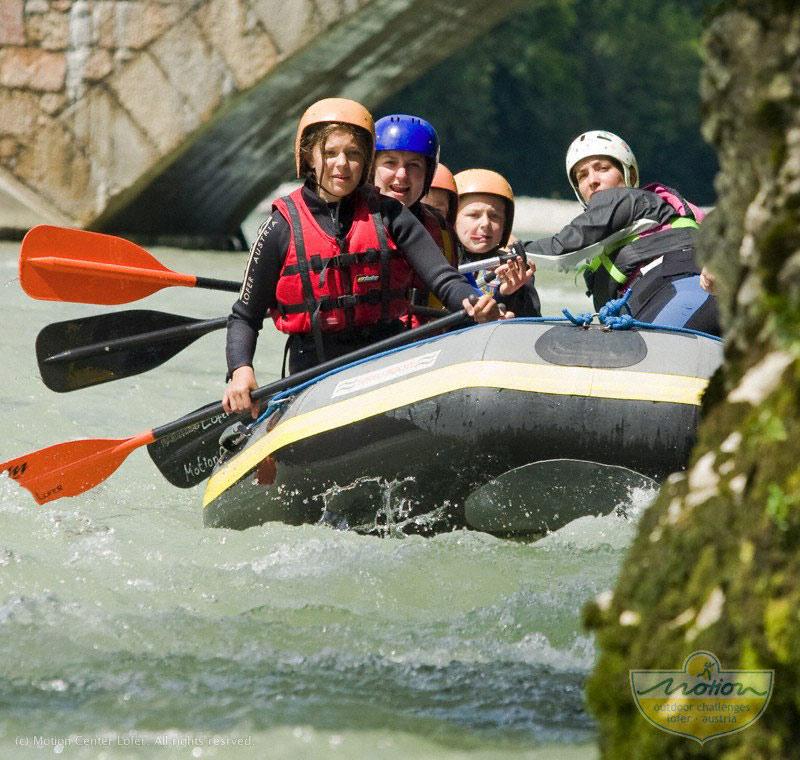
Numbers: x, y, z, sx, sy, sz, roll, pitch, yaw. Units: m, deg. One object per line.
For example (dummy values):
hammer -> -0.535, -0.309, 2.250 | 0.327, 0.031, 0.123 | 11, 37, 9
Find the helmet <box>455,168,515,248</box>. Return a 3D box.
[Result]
helmet -> 0.399, -0.768, 6.473 | 0.266, 0.266, 0.304 | 3, -29, -11

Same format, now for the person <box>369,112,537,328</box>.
person -> 0.120, -0.613, 6.368 | 0.728, 0.331, 0.883 | 5, -29, 4

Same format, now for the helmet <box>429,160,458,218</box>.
helmet -> 0.184, -0.792, 6.348 | 0.175, 0.199, 0.219 | 6, 10, 2

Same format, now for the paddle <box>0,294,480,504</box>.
paddle -> -0.634, 0.101, 5.981 | 2.371, 0.286, 0.156 | -17, -46, 4

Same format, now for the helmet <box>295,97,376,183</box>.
helmet -> -0.236, -0.921, 5.635 | 0.277, 0.242, 0.320 | 0, 7, -3

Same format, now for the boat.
boat -> 0.159, 0.218, 5.362 | 0.840, 0.360, 1.360 | 19, -32, -40
